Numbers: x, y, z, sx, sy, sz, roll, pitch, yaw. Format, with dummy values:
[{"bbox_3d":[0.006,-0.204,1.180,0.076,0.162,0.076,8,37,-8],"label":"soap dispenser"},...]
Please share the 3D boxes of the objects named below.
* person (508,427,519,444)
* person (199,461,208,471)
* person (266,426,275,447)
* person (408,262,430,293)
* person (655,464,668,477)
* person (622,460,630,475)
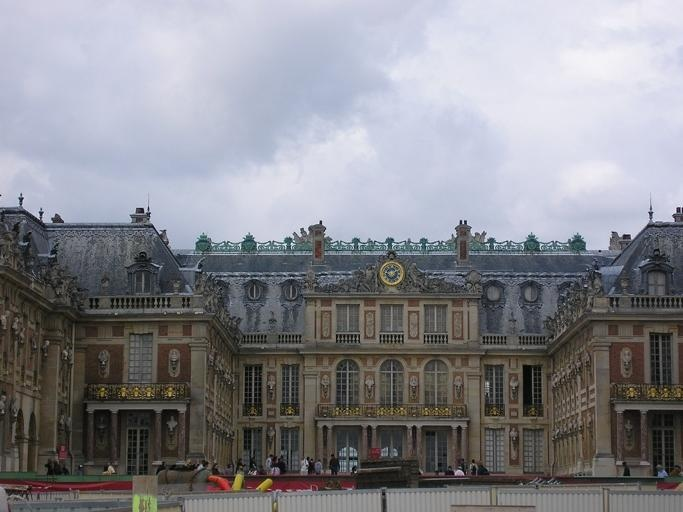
[{"bbox_3d":[9.477,9.787,99.728,0.527,0.853,0.158,6,-18,-23],"label":"person"},{"bbox_3d":[-5.214,7.932,68.981,0.395,0.492,1.267,2,-3,-5],"label":"person"},{"bbox_3d":[-3.932,9.984,99.964,0.574,1.275,0.347,-6,-17,16],"label":"person"},{"bbox_3d":[4.213,1.185,100.334,1.091,1.557,0.407,-2,-16,1],"label":"person"},{"bbox_3d":[14.875,9.992,84.670,0.522,0.727,0.735,3,-9,9],"label":"person"},{"bbox_3d":[13.491,10.017,86.021,0.393,0.864,1.478,-4,-17,8],"label":"person"}]
